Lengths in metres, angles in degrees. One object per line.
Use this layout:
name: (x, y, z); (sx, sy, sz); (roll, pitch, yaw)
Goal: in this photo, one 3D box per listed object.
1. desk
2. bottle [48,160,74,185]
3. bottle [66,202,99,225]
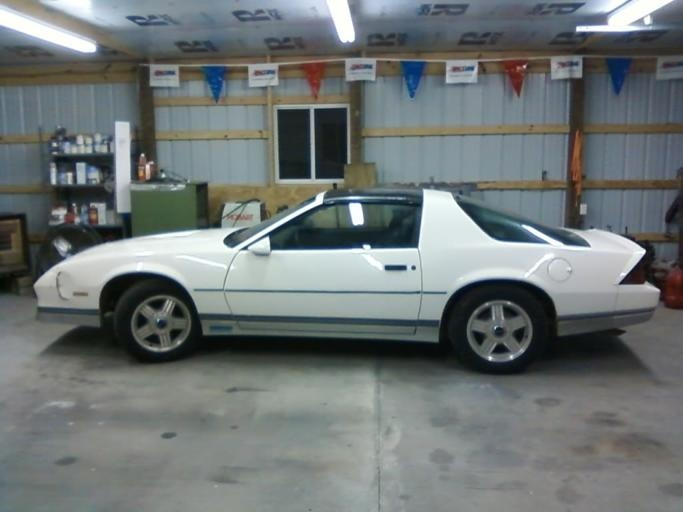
desk: (-2.691, -0.657, 9.012); (0.928, 0.867, 0.912); (6, 7, -2)
bottle: (-4.582, -1.345, 9.451); (0.415, 0.400, 0.239); (3, 7, 3)
bottle: (-4.158, -0.668, 9.332); (0.416, 0.390, 0.144); (0, -8, -5)
